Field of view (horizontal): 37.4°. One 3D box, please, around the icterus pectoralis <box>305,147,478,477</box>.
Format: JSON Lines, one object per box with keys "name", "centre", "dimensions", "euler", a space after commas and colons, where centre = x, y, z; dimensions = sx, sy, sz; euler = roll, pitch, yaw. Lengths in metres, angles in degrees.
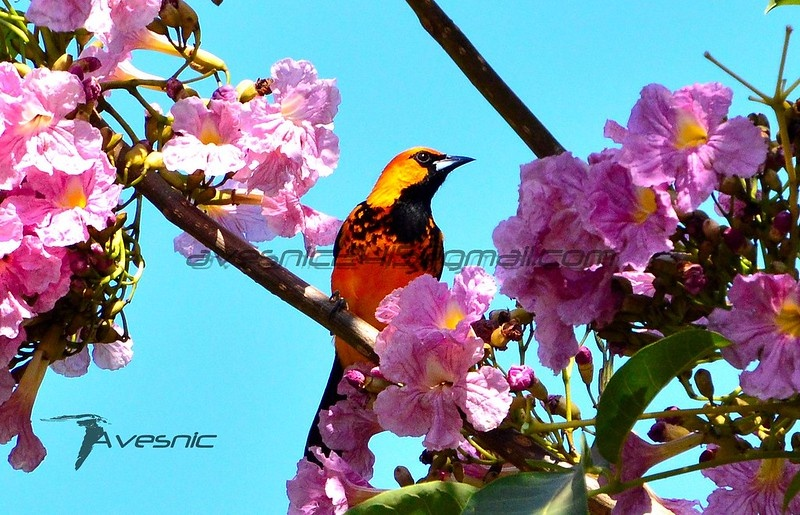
{"name": "icterus pectoralis", "centre": [-0.051, 0.184, 4.397], "dimensions": [0.465, 0.733, 1.153], "euler": [0, -89, 6]}
